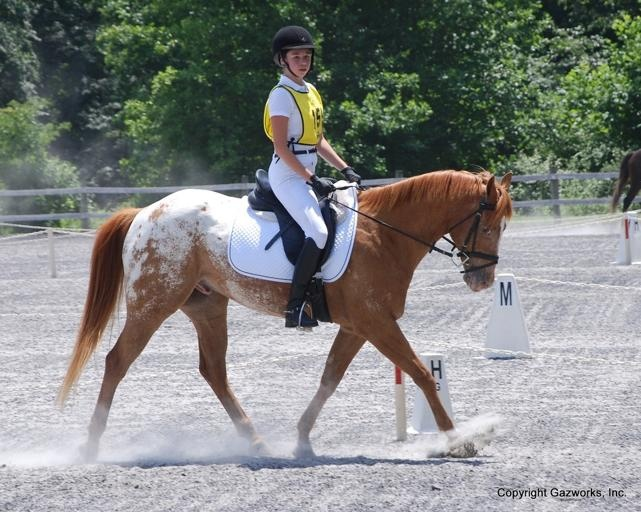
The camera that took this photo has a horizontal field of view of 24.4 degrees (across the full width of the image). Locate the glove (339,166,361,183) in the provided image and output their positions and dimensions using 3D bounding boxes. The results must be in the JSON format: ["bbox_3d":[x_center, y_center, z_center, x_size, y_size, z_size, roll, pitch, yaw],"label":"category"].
[{"bbox_3d":[0.663,-1.597,29.523,0.179,0.375,0.280,-48,-5,34],"label":"glove"}]

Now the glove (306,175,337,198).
[{"bbox_3d":[0.096,-1.394,29.144,0.401,0.179,0.503,22,-32,3],"label":"glove"}]
